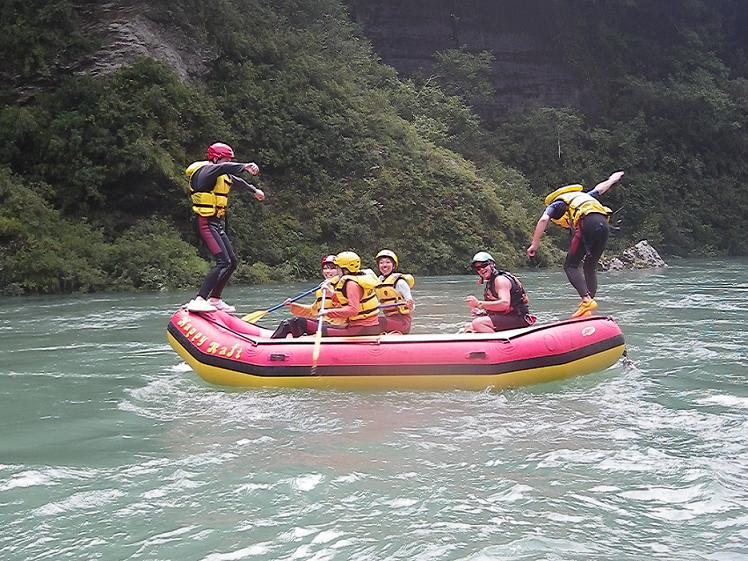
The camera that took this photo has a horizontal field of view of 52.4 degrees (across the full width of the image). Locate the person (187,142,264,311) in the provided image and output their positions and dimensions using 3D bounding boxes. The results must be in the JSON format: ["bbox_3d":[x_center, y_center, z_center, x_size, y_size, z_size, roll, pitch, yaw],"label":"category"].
[{"bbox_3d":[-1.974,-0.696,9.763,1.106,1.971,1.404,-8,3,-6],"label":"person"}]

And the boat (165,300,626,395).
[{"bbox_3d":[0.179,0.886,8.911,3.987,0.659,1.697,-1,-1,6],"label":"boat"}]

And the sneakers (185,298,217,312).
[{"bbox_3d":[-2.123,0.316,9.343,0.352,0.111,0.172,3,15,3],"label":"sneakers"}]

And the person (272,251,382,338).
[{"bbox_3d":[-0.452,0.402,9.387,1.321,1.430,0.785,0,12,6],"label":"person"}]

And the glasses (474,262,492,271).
[{"bbox_3d":[1.343,-0.174,9.412,0.197,0.071,0.117,-5,2,13],"label":"glasses"}]

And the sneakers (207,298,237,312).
[{"bbox_3d":[-1.904,0.352,9.752,0.434,0.164,0.136,13,39,-23],"label":"sneakers"}]

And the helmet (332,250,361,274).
[{"bbox_3d":[-0.309,-0.235,9.203,0.347,0.227,0.219,-8,35,-9],"label":"helmet"}]

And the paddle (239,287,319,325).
[{"bbox_3d":[-1.755,0.458,13.704,1.734,0.108,0.274,-17,47,-32],"label":"paddle"}]
